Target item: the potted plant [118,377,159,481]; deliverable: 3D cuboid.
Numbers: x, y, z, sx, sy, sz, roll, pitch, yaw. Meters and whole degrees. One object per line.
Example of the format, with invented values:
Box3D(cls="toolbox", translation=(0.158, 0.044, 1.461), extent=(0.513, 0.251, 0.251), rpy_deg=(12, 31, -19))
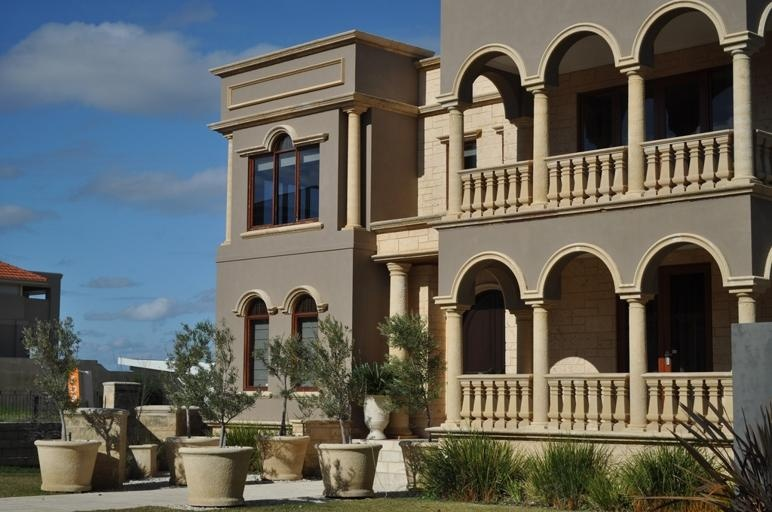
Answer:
Box3D(cls="potted plant", translation=(-6.932, 4.870, 39.917), extent=(1.110, 2.594, 2.238), rpy_deg=(0, -9, -9))
